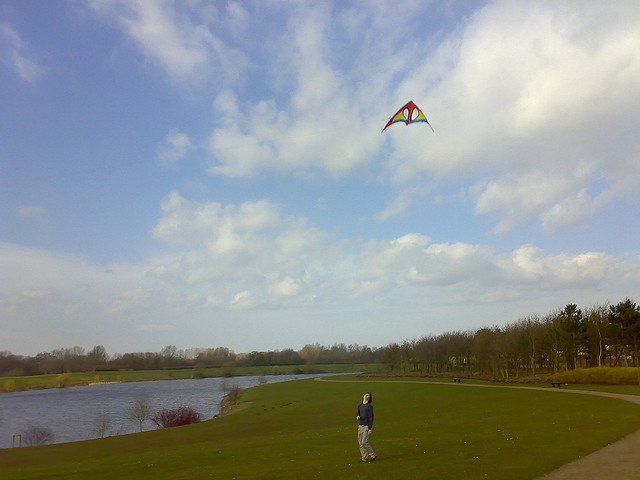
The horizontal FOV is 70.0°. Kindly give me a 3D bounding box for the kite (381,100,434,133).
[{"bbox_3d":[10.127,-14.071,53.417,3.269,3.102,3.382,13,-25,-36],"label":"kite"}]
